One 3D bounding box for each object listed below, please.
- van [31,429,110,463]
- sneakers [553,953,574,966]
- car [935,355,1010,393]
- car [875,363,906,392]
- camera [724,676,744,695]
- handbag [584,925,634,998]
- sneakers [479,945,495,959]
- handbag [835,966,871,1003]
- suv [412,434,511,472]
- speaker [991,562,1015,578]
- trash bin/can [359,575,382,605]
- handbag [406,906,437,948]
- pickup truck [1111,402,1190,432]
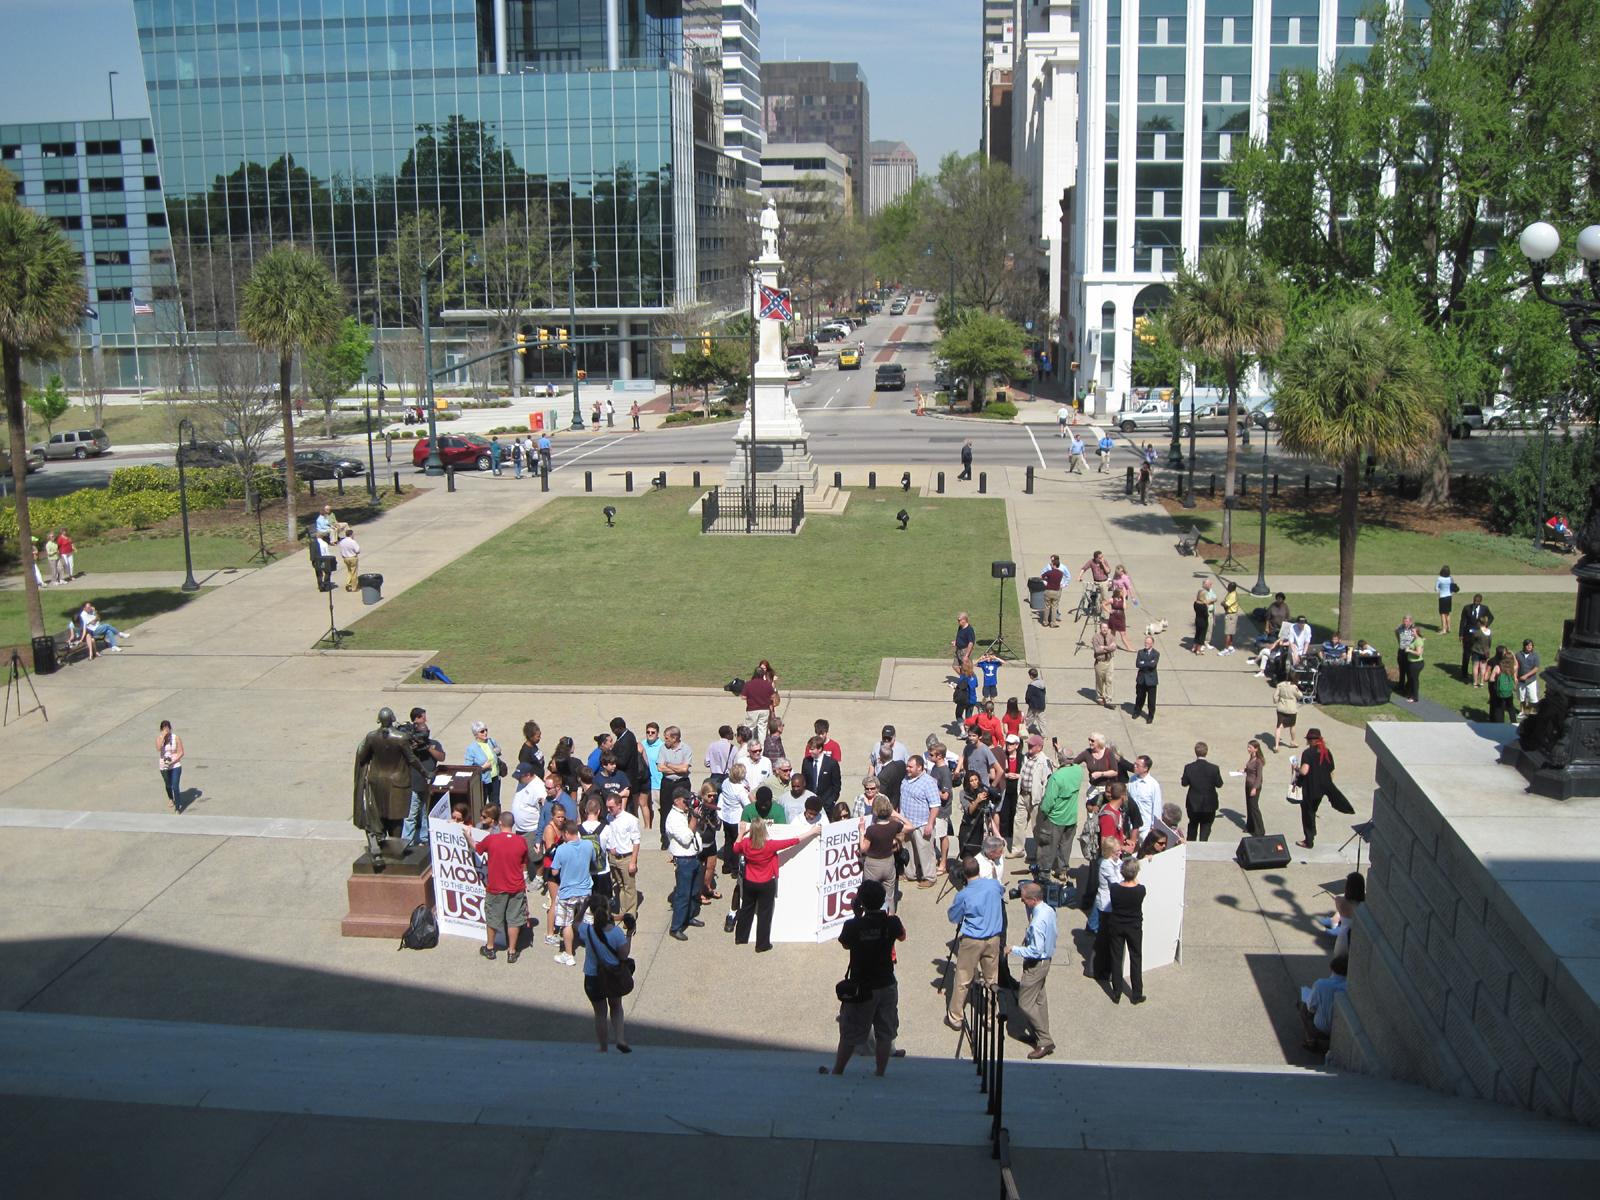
[{"bbox_3d":[-33.111,-6.891,73.011,2.514,1.165,1.421,3,8,-4],"label":"van"},{"bbox_3d":[-3.033,4.614,20.518,0.271,0.138,0.103,4,3,33],"label":"sneakers"},{"bbox_3d":[9.166,-11.865,84.479,2.346,1.471,2.468,-6,17,-24],"label":"car"},{"bbox_3d":[5.452,-13.378,97.668,1.223,1.164,2.422,1,19,5],"label":"car"},{"bbox_3d":[-1.091,1.531,27.652,0.260,0.140,0.438,2,7,3],"label":"camera"},{"bbox_3d":[-2.131,4.012,17.696,0.577,0.829,0.434,-9,-2,-12],"label":"handbag"},{"bbox_3d":[-4.037,4.551,20.772,0.183,0.144,0.219,-4,15,-12],"label":"sneakers"},{"bbox_3d":[0.560,4.099,16.938,0.241,0.387,0.371,3,9,5],"label":"handbag"},{"bbox_3d":[-13.165,-5.708,62.357,3.279,1.554,1.967,-5,14,-7],"label":"suv"},{"bbox_3d":[4.164,-0.665,32.981,0.394,0.417,0.120,-4,-4,-4],"label":"speaker"},{"bbox_3d":[-10.115,-0.237,38.068,0.570,0.631,0.587,-3,7,-32],"label":"trash bin/can"},{"bbox_3d":[-4.989,4.341,21.110,0.362,0.526,0.254,2,12,0],"label":"handbag"},{"bbox_3d":[16.220,-8.149,74.168,3.302,1.531,1.673,1,7,-2],"label":"pickup truck"}]
